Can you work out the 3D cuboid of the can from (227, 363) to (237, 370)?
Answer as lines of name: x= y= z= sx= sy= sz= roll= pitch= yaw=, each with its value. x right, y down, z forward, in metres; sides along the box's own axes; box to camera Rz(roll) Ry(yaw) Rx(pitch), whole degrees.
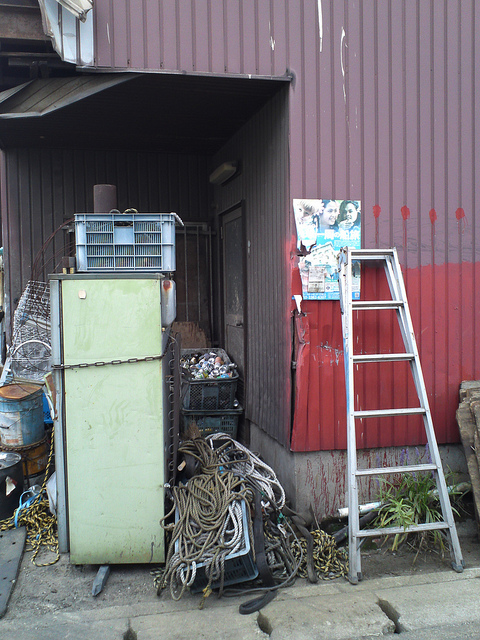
can: x=-0.069 y=0.396 z=5.704 sx=0.027 sy=0.063 sz=0.072 roll=-1 pitch=-13 yaw=-22

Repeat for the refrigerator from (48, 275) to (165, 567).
refrigerator: x=-0.794 y=0.591 z=3.816 sx=0.698 sy=1.666 sz=0.328 roll=-1 pitch=11 yaw=-3

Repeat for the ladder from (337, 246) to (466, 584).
ladder: x=0.930 y=0.502 z=4.067 sx=0.649 sy=2.612 sz=0.612 roll=-1 pitch=1 yaw=-6

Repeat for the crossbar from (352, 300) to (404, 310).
crossbar: x=0.843 y=-0.098 z=3.986 sx=0.330 sy=0.055 sz=0.065 roll=-3 pitch=14 yaw=-5

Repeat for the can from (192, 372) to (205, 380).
can: x=-0.340 y=0.448 z=5.419 sx=0.102 sy=0.100 sz=0.037 roll=7 pitch=-9 yaw=-35

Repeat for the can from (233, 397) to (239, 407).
can: x=-0.034 y=0.679 z=5.500 sx=0.050 sy=0.075 sz=0.171 roll=0 pitch=0 yaw=-2
